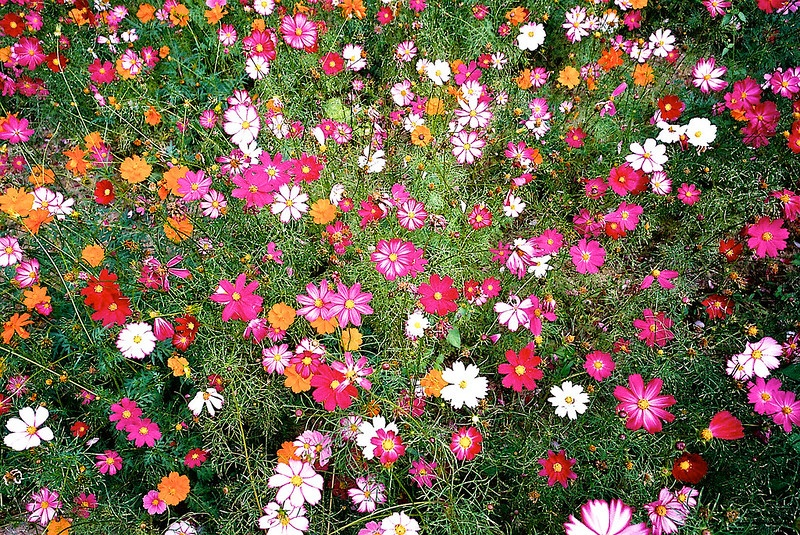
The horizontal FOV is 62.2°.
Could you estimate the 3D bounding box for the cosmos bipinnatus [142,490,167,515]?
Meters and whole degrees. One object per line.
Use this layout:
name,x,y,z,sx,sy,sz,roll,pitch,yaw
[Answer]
cosmos bipinnatus,-1.338,1.277,3.607,0.120,0.035,0.142,-15,82,7
